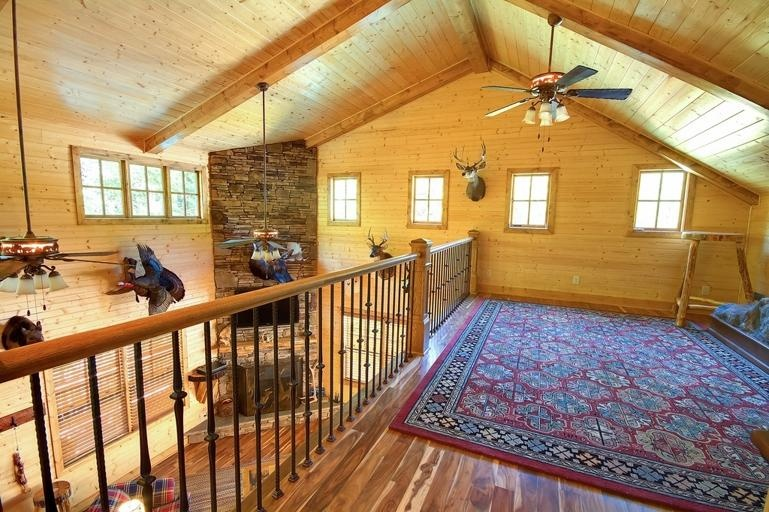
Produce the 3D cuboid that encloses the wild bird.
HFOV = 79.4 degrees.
[{"bbox_3d":[-3.768,0.349,7.691,0.811,1.154,0.337,-7,10,-33],"label":"wild bird"}]

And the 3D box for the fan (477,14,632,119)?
[{"bbox_3d":[2.012,-2.262,5.597,1.713,1.038,1.655,9,14,36],"label":"fan"}]

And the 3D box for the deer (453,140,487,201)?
[{"bbox_3d":[1.535,-1.496,8.314,0.585,1.014,0.522,1,8,19],"label":"deer"}]

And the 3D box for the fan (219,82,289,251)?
[{"bbox_3d":[-2.148,-1.294,7.740,0.705,2.699,2.868,-4,7,-12],"label":"fan"}]

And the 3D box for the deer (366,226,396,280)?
[{"bbox_3d":[-0.008,0.016,9.173,0.458,0.846,0.984,-1,-3,20],"label":"deer"}]
